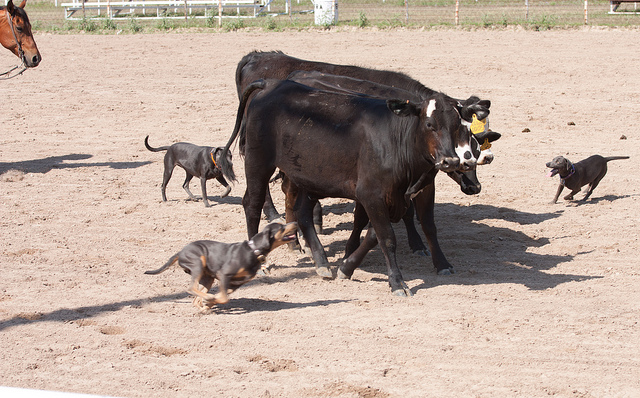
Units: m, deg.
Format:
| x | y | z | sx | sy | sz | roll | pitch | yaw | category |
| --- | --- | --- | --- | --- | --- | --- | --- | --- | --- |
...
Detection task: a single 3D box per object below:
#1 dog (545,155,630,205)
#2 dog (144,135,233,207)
| x | y | z | sx | sy | sz | roll | pitch | yaw | category |
| --- | --- | --- | --- | --- | --- | --- | --- | --- | --- |
| 5.201 | -0.449 | 17.031 | 2.420 | 0.914 | 0.522 | -12 | 21 | -33 | dog |
| -2.459 | -0.545 | 17.216 | 2.721 | 1.234 | 0.787 | 6 | 11 | 39 | dog |
